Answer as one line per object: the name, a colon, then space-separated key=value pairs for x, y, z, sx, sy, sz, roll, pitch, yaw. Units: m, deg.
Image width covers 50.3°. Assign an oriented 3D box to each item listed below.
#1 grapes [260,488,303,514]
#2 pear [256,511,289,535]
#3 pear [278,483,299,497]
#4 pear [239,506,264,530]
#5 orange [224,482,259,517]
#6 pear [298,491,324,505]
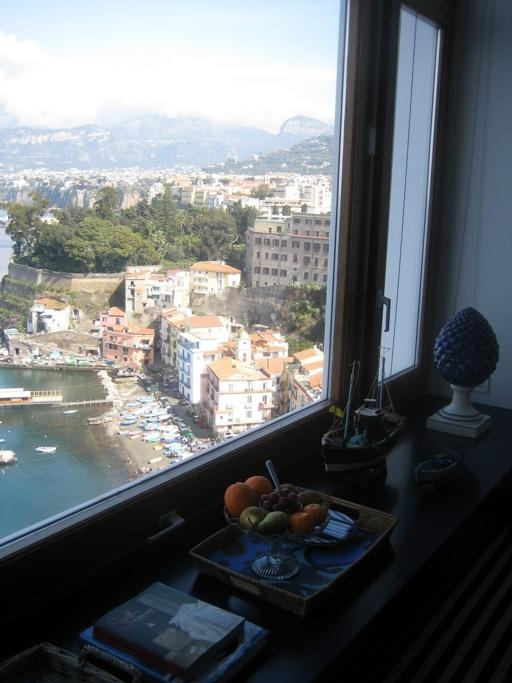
grapes: x=0.037 y=0.247 z=0.851 sx=0.036 sy=0.023 sz=0.042 roll=-1 pitch=1 yaw=-8
pear: x=0.025 y=0.262 z=0.793 sx=0.036 sy=0.029 sz=0.027 roll=-12 pitch=33 yaw=-22
pear: x=0.052 y=0.243 z=0.889 sx=0.028 sy=0.018 sz=0.022 roll=4 pitch=11 yaw=44
pear: x=-0.007 y=0.261 z=0.814 sx=0.026 sy=0.030 sz=0.040 roll=3 pitch=14 yaw=-1
orange: x=-0.027 y=0.247 z=0.861 sx=0.046 sy=0.049 sz=0.060 roll=-10 pitch=46 yaw=-7
pear: x=0.096 y=0.263 z=0.942 sx=0.035 sy=0.023 sz=0.022 roll=6 pitch=1 yaw=4
